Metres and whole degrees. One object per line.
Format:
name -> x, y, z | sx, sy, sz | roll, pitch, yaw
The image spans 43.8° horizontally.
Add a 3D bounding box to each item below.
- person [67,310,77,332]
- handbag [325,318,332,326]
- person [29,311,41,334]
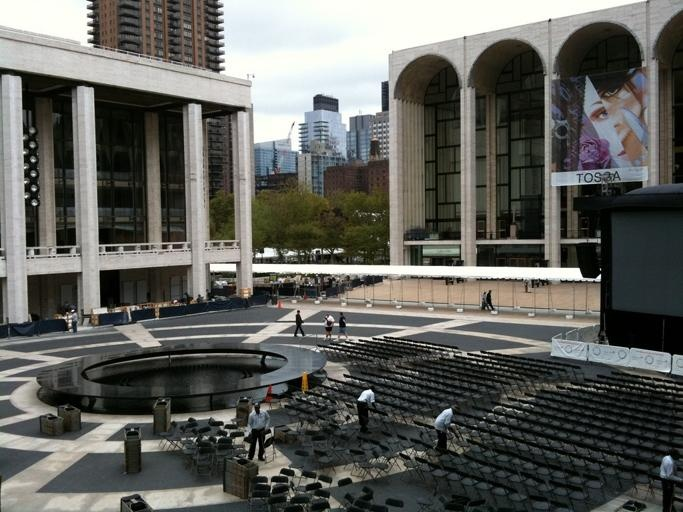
person -> -17.943, 4.240, 56.559 | 0.373, 1.577, 2.174 | -3, 1, -23
handbag -> -0.780, 3.929, 51.761 | 0.355, 0.525, 0.352 | -3, 1, -19
person -> -21.091, 4.546, 58.126 | 0.865, 1.642, 0.863 | 3, -5, -38
